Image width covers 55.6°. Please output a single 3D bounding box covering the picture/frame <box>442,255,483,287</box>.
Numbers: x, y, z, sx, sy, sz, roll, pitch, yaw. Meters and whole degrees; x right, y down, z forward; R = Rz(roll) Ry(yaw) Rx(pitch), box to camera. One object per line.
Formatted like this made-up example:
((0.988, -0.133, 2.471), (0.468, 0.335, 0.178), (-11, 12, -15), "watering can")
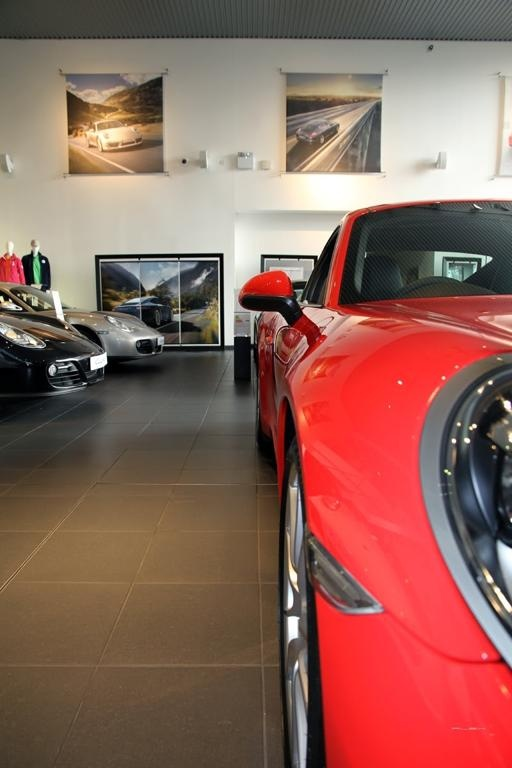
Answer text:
((0.525, -0.295, 1.253), (0.100, 0.113, 0.076), (1, 0, 1), "picture/frame")
